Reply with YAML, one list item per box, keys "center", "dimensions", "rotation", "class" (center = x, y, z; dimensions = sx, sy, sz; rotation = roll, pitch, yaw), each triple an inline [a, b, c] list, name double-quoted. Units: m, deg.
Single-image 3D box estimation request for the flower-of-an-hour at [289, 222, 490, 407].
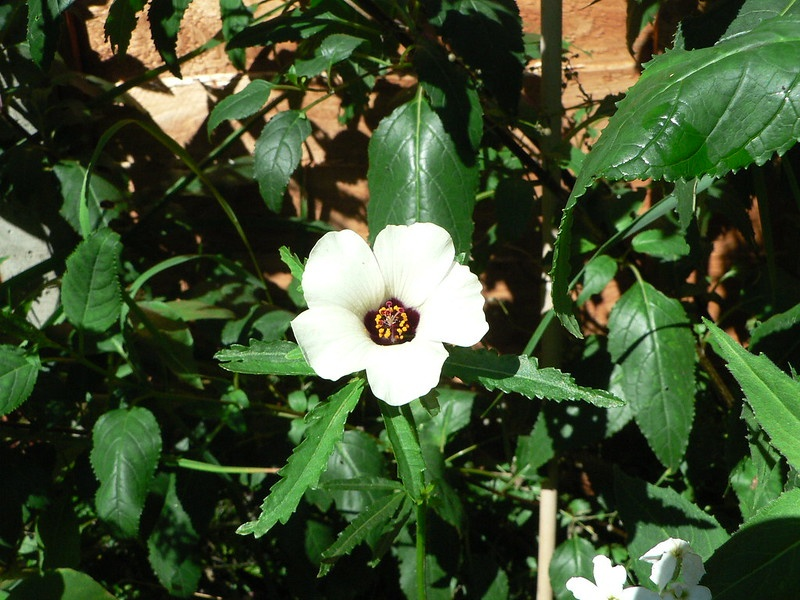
- center: [-0.017, 0.049, 1.388]
  dimensions: [0.349, 0.370, 0.158]
  rotation: [-17, -41, 2]
  class: "flower-of-an-hour"
